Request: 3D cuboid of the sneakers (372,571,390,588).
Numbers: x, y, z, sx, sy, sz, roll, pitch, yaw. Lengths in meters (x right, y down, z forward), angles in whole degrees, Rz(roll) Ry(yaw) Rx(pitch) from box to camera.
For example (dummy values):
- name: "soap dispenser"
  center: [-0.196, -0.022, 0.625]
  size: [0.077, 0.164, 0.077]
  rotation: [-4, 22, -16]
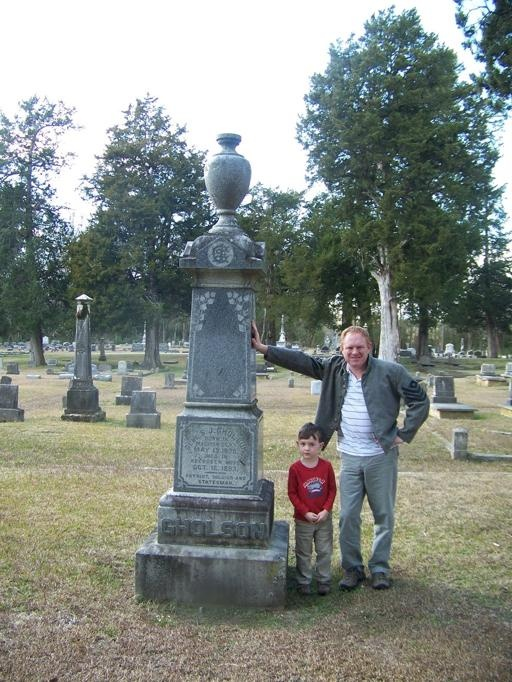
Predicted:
- name: "sneakers"
  center: [0.841, 1.618, 4.794]
  size: [0.112, 0.085, 0.149]
  rotation: [1, -1, 4]

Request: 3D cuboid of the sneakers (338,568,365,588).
- name: "sneakers"
  center: [0.669, 1.625, 4.861]
  size: [0.113, 0.109, 0.280]
  rotation: [0, -2, 28]

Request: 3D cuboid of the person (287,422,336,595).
- name: "person"
  center: [0.383, 1.126, 4.867]
  size: [0.316, 1.122, 0.362]
  rotation: [1, -1, 10]
